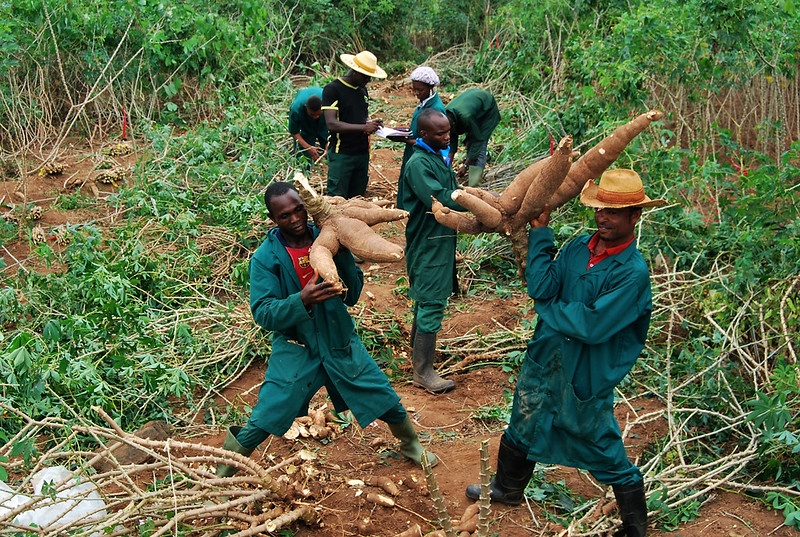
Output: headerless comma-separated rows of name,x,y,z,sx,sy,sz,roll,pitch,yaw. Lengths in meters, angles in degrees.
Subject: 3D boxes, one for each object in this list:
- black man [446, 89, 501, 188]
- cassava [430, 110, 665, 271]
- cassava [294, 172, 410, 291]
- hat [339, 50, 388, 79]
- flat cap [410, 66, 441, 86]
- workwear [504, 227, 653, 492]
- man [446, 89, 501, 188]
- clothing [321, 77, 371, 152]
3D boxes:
black man,0.931,-1.624,9.189,0.730,1.392,0.619,6,30,12
cassava,0.990,-0.519,5.460,1.706,0.585,1.064,-16,6,9
cassava,-0.384,-0.298,5.360,0.971,0.270,0.801,5,51,-14
hat,-0.434,-2.420,8.431,0.469,0.348,0.488,-3,26,-4
flat cap,0.285,-2.147,7.964,0.294,0.228,0.220,-2,26,-3
workwear,1.379,0.687,5.312,0.999,1.833,0.848,7,28,16
man,0.944,-1.617,9.188,0.783,1.383,0.589,-7,30,-10
clothing,-0.656,-1.827,8.535,0.539,0.879,0.539,-4,27,-5
